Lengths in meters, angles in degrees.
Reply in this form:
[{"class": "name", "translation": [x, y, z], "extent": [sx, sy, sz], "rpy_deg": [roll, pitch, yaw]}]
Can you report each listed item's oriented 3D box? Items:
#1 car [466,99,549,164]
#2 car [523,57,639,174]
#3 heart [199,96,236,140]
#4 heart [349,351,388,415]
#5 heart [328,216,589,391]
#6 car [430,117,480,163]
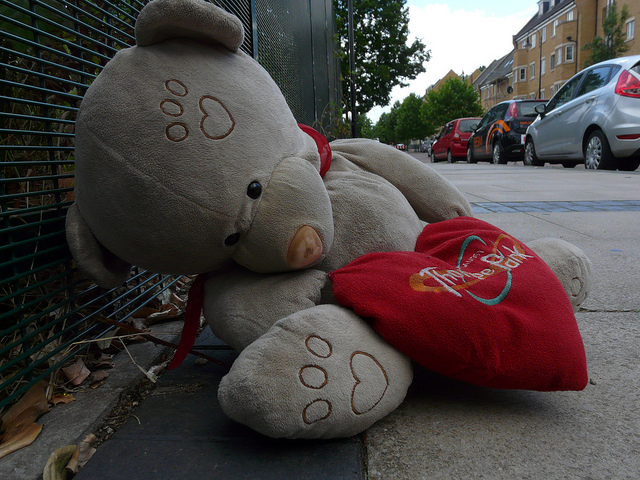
[{"class": "car", "translation": [4.715, -2.801, 12.284], "extent": [1.271, 1.152, 2.458], "rpy_deg": [-4, 11, -12]}, {"class": "car", "translation": [4.341, -2.002, 7.890], "extent": [1.118, 1.091, 2.118], "rpy_deg": [-1, 13, -12]}, {"class": "heart", "translation": [-0.278, -0.336, 1.296], "extent": [0.089, 0.114, 0.041], "rpy_deg": [-6, 14, -14]}, {"class": "heart", "translation": [0.136, 0.384, 1.299], "extent": [0.130, 0.205, 0.035], "rpy_deg": [3, 3, 32]}, {"class": "heart", "translation": [0.361, 0.071, 1.530], "extent": [0.730, 0.499, 0.644], "rpy_deg": [0, 14, -30]}, {"class": "car", "translation": [4.459, -3.352, 15.614], "extent": [0.920, 0.848, 1.939], "rpy_deg": [-4, 14, -7]}]
